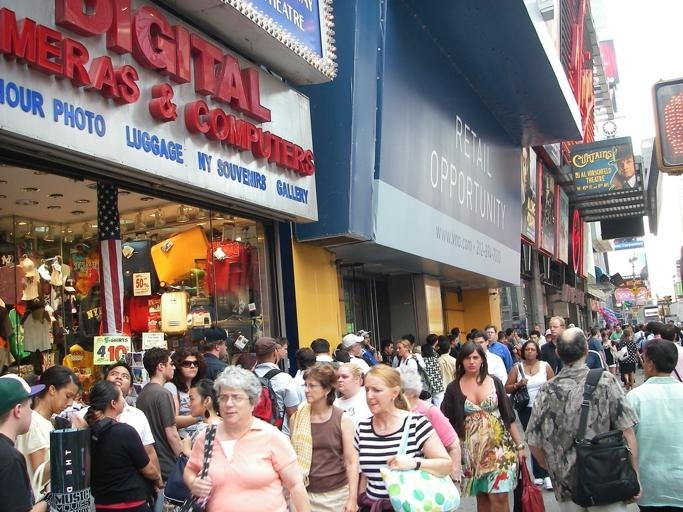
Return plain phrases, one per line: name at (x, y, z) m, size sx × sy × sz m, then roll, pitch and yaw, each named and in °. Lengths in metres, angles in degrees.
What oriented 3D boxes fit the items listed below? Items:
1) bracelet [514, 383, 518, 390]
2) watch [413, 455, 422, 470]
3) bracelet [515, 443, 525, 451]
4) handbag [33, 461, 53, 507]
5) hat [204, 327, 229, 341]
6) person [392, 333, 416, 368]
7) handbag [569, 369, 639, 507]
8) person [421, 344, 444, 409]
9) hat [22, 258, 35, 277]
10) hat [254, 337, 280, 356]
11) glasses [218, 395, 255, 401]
bracelet at (2.563, 1.918, 7.772) m, size 0.026 × 0.089 × 0.085 m, roll 8°, pitch 10°, yaw -16°
watch at (0.529, 1.445, 3.672) m, size 0.037 × 0.071 × 0.064 m, roll 4°, pitch -2°, yaw 1°
bracelet at (1.922, 2.068, 5.714) m, size 0.062 × 0.050 × 0.088 m, roll 0°, pitch -13°, yaw 2°
handbag at (-2.282, 1.739, 4.018) m, size 0.123 × 0.403 × 0.254 m, roll 0°, pitch 6°, yaw -34°
hat at (-1.678, 1.066, 7.099) m, size 0.245 × 0.161 × 0.190 m, roll -10°, pitch 26°, yaw -26°
person at (1.180, 1.785, 9.579) m, size 0.309 × 0.648 × 0.711 m, roll 0°, pitch 2°, yaw 0°
handbag at (2.010, 1.404, 4.102) m, size 0.500 × 1.015 × 0.310 m, roll 1°, pitch -9°, yaw -12°
person at (1.709, 2.448, 9.987) m, size 0.463 × 1.321 × 0.383 m, roll -2°, pitch 7°, yaw 19°
hat at (-4.844, 0.156, 8.184) m, size 0.173 × 0.111 × 0.260 m, roll -20°, pitch 50°, yaw -25°
hat at (-0.907, 1.094, 6.472) m, size 0.197 × 0.148 × 0.235 m, roll 1°, pitch 14°, yaw 12°
glasses at (-0.711, 0.942, 3.522) m, size 0.207 × 0.038 × 0.070 m, roll 1°, pitch -9°, yaw -11°
